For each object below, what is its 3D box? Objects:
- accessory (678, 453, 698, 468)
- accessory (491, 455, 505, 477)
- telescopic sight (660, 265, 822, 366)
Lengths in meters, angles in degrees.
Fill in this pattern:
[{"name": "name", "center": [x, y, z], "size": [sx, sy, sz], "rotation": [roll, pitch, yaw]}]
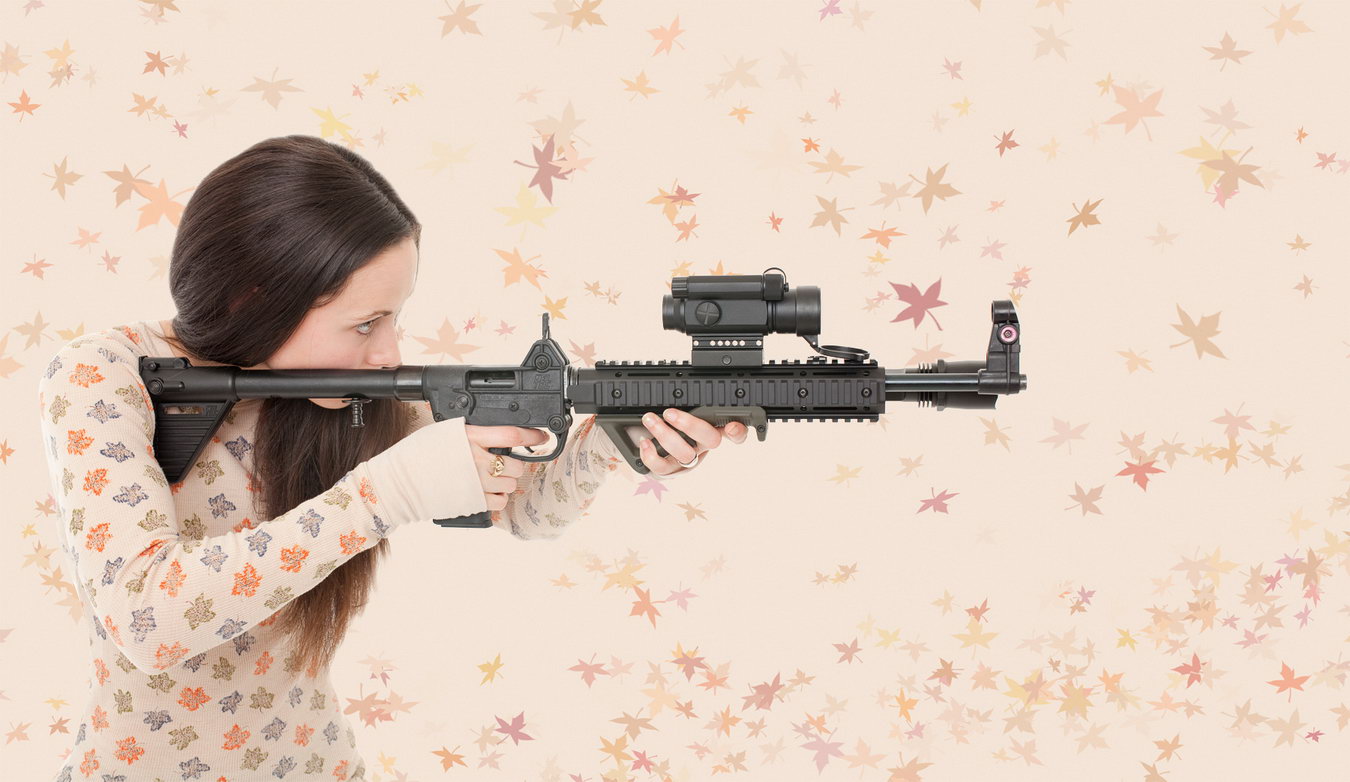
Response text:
[{"name": "accessory", "center": [0.057, 0.236, 4.190], "size": [0.048, 0.020, 0.047], "rotation": [-1, 84, -6]}, {"name": "accessory", "center": [-0.575, 0.249, 4.069], "size": [0.062, 0.016, 0.057], "rotation": [16, 79, -33]}, {"name": "telescopic sight", "center": [0.195, -0.234, 4.138], "size": [0.572, 0.177, 0.298], "rotation": [-2, 96, -16]}]
